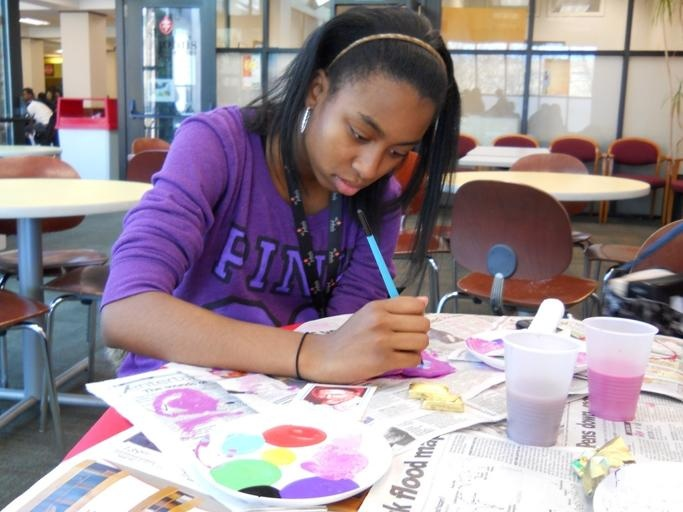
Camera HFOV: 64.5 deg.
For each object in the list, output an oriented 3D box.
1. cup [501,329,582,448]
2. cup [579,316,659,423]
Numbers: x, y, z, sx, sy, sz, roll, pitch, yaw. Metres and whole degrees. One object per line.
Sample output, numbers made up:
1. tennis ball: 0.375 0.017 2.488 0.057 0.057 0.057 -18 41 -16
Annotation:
1. cup: 0.268 0.193 0.754 0.099 0.126 0.101 4 -1 0
2. cup: 0.412 0.163 0.877 0.131 0.171 0.146 1 2 14
